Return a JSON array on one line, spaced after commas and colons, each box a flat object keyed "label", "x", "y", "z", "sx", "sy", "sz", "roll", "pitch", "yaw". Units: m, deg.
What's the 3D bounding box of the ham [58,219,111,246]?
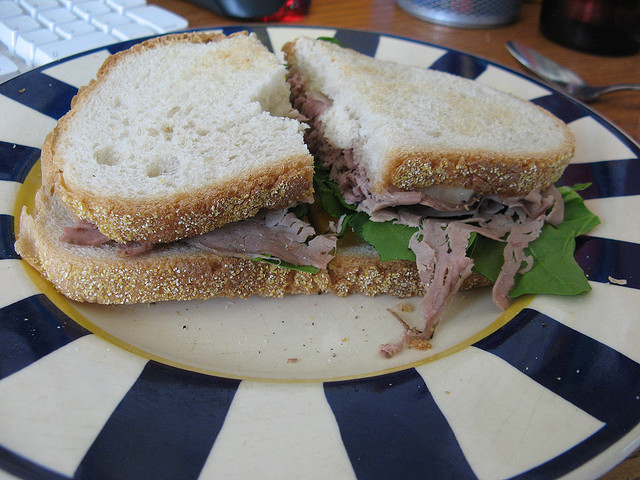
[{"label": "ham", "x": -0.716, "y": -0.019, "z": 1.947, "sx": 0.121, "sy": 0.043, "sz": 0.086, "roll": 6, "pitch": 50, "yaw": -17}]

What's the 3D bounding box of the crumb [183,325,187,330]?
[{"label": "crumb", "x": -0.401, "y": 0.259, "z": 1.902, "sx": 0.010, "sy": 0.006, "sz": 0.010, "roll": 1, "pitch": 72, "yaw": -3}]

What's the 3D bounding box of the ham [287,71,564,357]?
[{"label": "ham", "x": 0.315, "y": -0.174, "z": 2.210, "sx": 0.944, "sy": 0.658, "sz": 1.012, "roll": -7, "pitch": 25, "yaw": -25}]

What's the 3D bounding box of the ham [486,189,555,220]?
[{"label": "ham", "x": 0.642, "y": -0.107, "z": 2.051, "sx": 0.161, "sy": 0.047, "sz": 0.107, "roll": 10, "pitch": 61, "yaw": -8}]

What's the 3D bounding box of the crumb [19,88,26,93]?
[{"label": "crumb", "x": -1.072, "y": -0.536, "z": 2.312, "sx": 0.012, "sy": 0.004, "sz": 0.015, "roll": 39, "pitch": 54, "yaw": -3}]

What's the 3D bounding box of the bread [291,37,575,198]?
[{"label": "bread", "x": 0.381, "y": -0.402, "z": 2.287, "sx": 0.880, "sy": 0.554, "sz": 1.108, "roll": -9, "pitch": 23, "yaw": -27}]

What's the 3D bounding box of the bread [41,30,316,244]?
[{"label": "bread", "x": -0.460, "y": -0.308, "z": 2.029, "sx": 0.801, "sy": 0.227, "sz": 0.687, "roll": -4, "pitch": 60, "yaw": -11}]

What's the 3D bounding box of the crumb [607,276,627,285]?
[{"label": "crumb", "x": 0.875, "y": 0.119, "z": 1.891, "sx": 0.042, "sy": 0.004, "sz": 0.015, "roll": 7, "pitch": 73, "yaw": 17}]

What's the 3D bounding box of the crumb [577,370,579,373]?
[{"label": "crumb", "x": 0.683, "y": 0.347, "z": 1.708, "sx": 0.004, "sy": 0.001, "sz": 0.004, "roll": 10, "pitch": 69, "yaw": 24}]

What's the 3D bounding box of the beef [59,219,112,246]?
[{"label": "beef", "x": -0.713, "y": -0.017, "z": 1.944, "sx": 0.116, "sy": 0.041, "sz": 0.085, "roll": 13, "pitch": 46, "yaw": -12}]

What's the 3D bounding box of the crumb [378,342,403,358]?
[{"label": "crumb", "x": 0.198, "y": 0.314, "z": 1.858, "sx": 0.053, "sy": 0.020, "sz": 0.037, "roll": -22, "pitch": 49, "yaw": -18}]

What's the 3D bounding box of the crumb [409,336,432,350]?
[{"label": "crumb", "x": 0.293, "y": 0.296, "z": 1.863, "sx": 0.041, "sy": 0.012, "sz": 0.032, "roll": 9, "pitch": 43, "yaw": 8}]
